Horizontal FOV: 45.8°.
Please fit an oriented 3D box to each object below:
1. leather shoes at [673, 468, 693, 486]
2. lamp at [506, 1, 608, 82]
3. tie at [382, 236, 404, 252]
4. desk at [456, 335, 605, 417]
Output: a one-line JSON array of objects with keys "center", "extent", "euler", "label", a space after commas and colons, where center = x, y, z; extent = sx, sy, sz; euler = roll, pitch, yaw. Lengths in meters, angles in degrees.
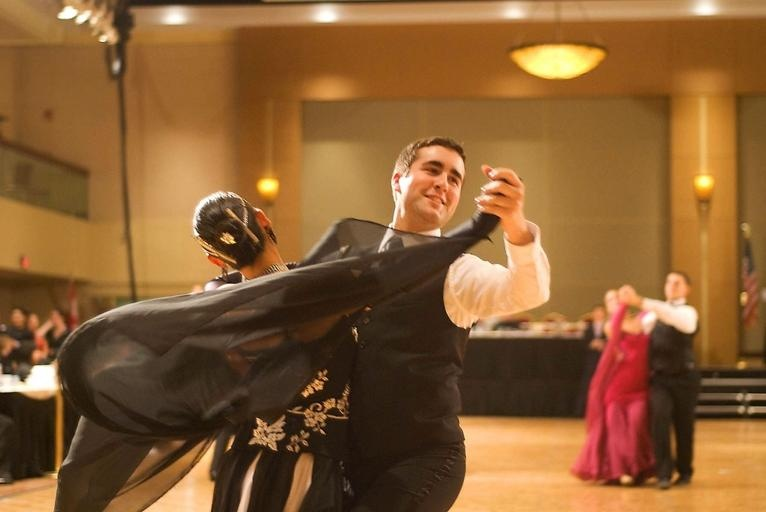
[{"center": [1.875, 1.371, 5.618], "extent": [0.121, 0.118, 0.064], "euler": [-7, -19, 31], "label": "leather shoes"}, {"center": [1.113, -1.247, 5.856], "extent": [0.523, 0.513, 0.508], "euler": [11, -14, -41], "label": "lamp"}, {"center": [0.042, -0.063, 4.109], "extent": [0.082, 0.071, 0.065], "euler": [0, -1, -26], "label": "tie"}, {"center": [1.549, 1.331, 10.330], "extent": [2.054, 1.079, 0.991], "euler": [3, -3, 14], "label": "desk"}]
